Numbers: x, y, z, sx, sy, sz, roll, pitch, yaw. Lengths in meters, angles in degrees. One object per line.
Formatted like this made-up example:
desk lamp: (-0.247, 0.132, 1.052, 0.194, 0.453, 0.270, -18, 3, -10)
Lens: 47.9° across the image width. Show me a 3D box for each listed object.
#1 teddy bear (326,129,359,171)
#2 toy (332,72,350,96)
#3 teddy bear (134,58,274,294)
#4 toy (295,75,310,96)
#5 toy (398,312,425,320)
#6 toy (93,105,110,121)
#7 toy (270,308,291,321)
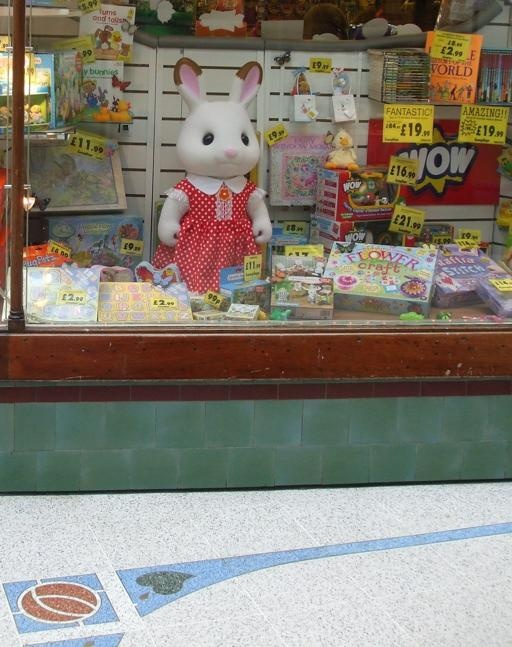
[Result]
teddy bear: (0.525, -1.056, 3.490, 0.202, 0.234, 0.170, 4, 23, 6)
toy: (0.525, -1.469, 3.566, 0.099, 0.142, 0.051, -2, 6, 7)
teddy bear: (-0.146, -0.776, 2.839, 0.626, 1.134, 0.814, 1, 6, -15)
toy: (0.284, -1.453, 3.534, 0.092, 0.124, 0.057, -3, 1, -10)
toy: (0.579, -0.027, 2.146, 0.046, 0.028, 0.058, -1, 5, 5)
toy: (-0.886, -1.210, 3.316, 0.092, 0.094, 0.038, 1, 6, -16)
toy: (0.083, -0.036, 2.120, 0.046, 0.020, 0.058, 7, 18, 12)
